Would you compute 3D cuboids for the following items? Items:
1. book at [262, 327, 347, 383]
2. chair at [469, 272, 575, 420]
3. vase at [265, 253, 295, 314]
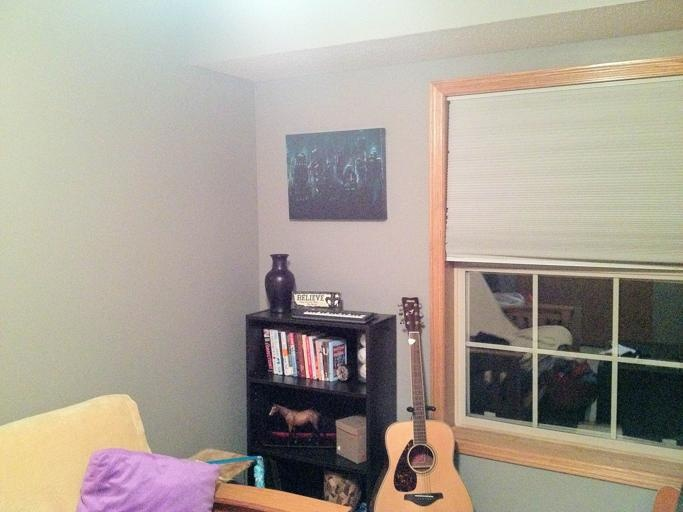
[{"bbox_3d":[-0.218,0.597,3.489,0.563,0.288,0.124,2,0,22],"label":"book"},{"bbox_3d":[1.342,0.536,3.854,0.758,1.252,0.752,0,0,25],"label":"chair"},{"bbox_3d":[-0.387,0.171,3.560,0.176,0.344,0.107,2,0,-10],"label":"vase"}]
